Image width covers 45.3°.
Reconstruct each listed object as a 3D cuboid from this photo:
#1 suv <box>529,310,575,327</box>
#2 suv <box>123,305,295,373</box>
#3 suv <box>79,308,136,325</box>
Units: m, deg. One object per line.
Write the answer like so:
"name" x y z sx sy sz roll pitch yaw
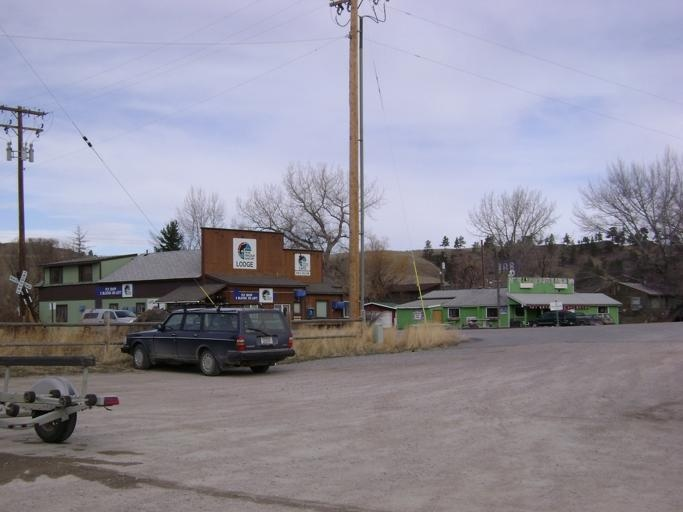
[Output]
"suv" 17.502 4.916 65.908 2.542 1.176 3.011 0 -5 -17
"suv" -3.517 2.147 21.966 3.661 1.422 1.855 2 -2 35
"suv" -11.722 2.982 41.149 2.943 1.264 1.546 -12 -12 40
